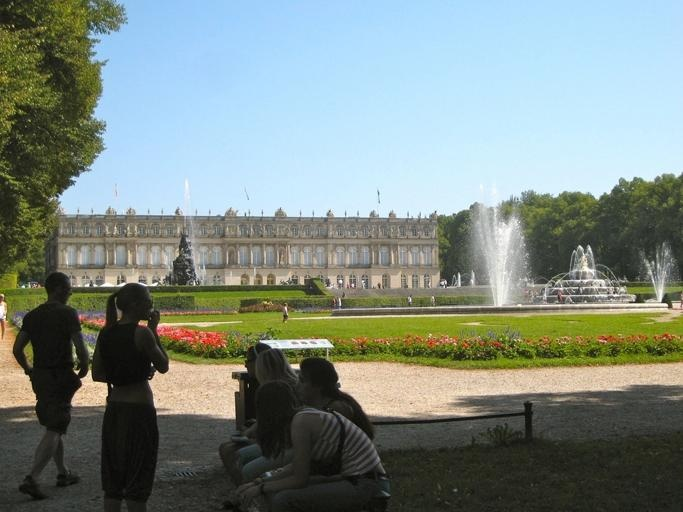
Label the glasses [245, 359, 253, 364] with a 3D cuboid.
[{"bbox_3d":[-1.417,1.623,16.064,0.086,0.076,0.023,-2,0,3],"label":"glasses"}]

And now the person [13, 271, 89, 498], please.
[{"bbox_3d":[-4.489,1.981,16.171,1.184,3.471,0.784,-1,-5,-4],"label":"person"}]

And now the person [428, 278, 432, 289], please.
[{"bbox_3d":[8.944,2.523,105.452,0.422,0.900,0.307,-2,-5,7],"label":"person"}]

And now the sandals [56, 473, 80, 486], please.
[{"bbox_3d":[-4.280,3.507,16.298,0.161,0.153,0.365,8,10,43],"label":"sandals"}]

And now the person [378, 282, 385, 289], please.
[{"bbox_3d":[3.860,2.921,102.554,0.440,0.836,0.871,-1,-1,45],"label":"person"}]
